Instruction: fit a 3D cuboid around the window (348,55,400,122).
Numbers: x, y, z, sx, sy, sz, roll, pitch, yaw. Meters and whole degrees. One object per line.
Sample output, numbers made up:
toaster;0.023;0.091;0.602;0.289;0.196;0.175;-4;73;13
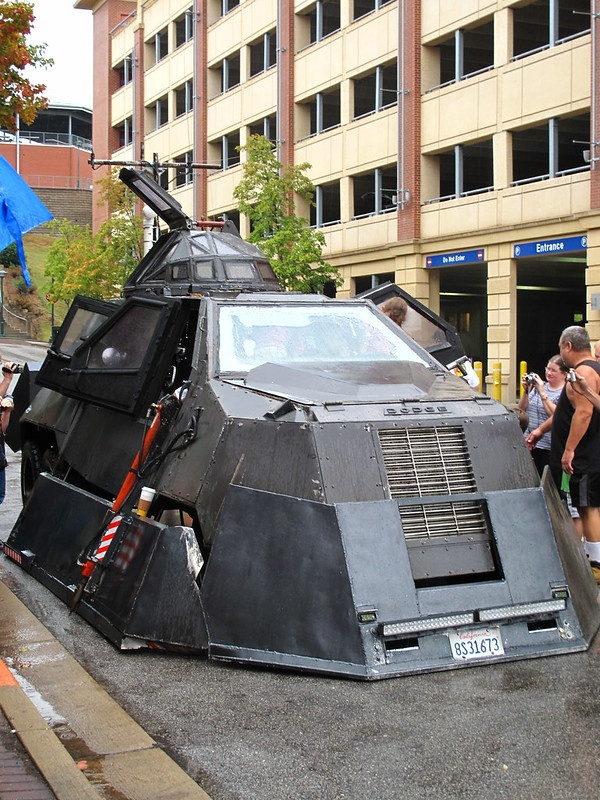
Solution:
window;3.011;-12.161;27.123;1.777;1.795;2.748;-9;6;-33

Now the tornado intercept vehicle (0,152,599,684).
tornado intercept vehicle;-0.253;0.252;5.213;2.758;2.430;3.882;-1;3;-34

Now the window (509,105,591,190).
window;8.893;-9.116;24.148;1.562;2.887;6.795;4;10;18

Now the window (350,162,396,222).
window;2.929;-8.245;27.230;1.758;1.218;1.781;-2;4;1

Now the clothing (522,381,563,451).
clothing;2.611;0.125;7.354;0.220;0.593;0.400;-14;17;-37

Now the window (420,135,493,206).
window;5.872;-8.420;25.000;3.067;0.693;1.998;-3;-1;-36
